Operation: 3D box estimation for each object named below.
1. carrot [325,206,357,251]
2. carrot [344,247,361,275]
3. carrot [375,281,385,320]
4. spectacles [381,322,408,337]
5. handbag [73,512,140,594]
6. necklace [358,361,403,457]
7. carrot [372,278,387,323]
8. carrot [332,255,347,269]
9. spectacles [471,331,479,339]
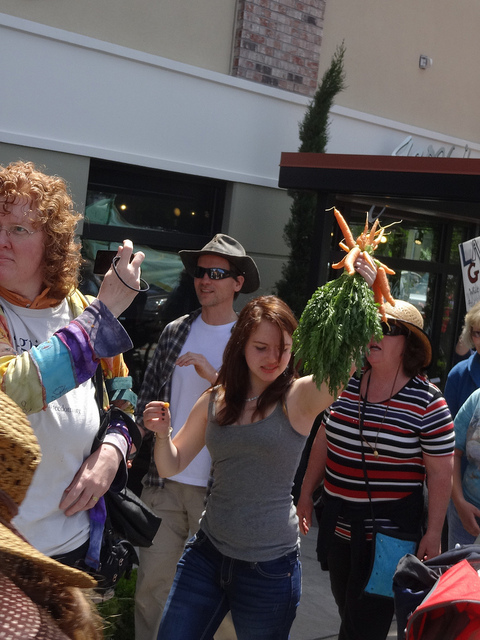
[{"bbox_3d":[0.364,-0.357,1.931,0.040,0.261,0.039,-38,-47,25],"label":"carrot"},{"bbox_3d":[0.384,-0.199,1.781,0.031,0.036,0.119,-18,33,38],"label":"carrot"},{"bbox_3d":[0.482,-0.069,1.848,0.026,0.122,0.022,-8,-9,-12],"label":"carrot"},{"bbox_3d":[0.842,0.065,2.865,0.105,0.100,0.031,12,31,10],"label":"spectacles"},{"bbox_3d":[-0.512,0.936,2.063,0.101,0.354,0.346,7,7,16],"label":"handbag"},{"bbox_3d":[0.741,0.484,2.755,0.167,0.578,0.027,3,-17,21],"label":"necklace"},{"bbox_3d":[0.512,-0.076,1.883,0.038,0.171,0.046,-8,6,2],"label":"carrot"},{"bbox_3d":[0.347,-0.199,1.841,0.020,0.029,0.116,12,26,10],"label":"carrot"},{"bbox_3d":[1.685,0.105,3.759,0.020,0.054,0.063,3,7,-15],"label":"spectacles"}]
